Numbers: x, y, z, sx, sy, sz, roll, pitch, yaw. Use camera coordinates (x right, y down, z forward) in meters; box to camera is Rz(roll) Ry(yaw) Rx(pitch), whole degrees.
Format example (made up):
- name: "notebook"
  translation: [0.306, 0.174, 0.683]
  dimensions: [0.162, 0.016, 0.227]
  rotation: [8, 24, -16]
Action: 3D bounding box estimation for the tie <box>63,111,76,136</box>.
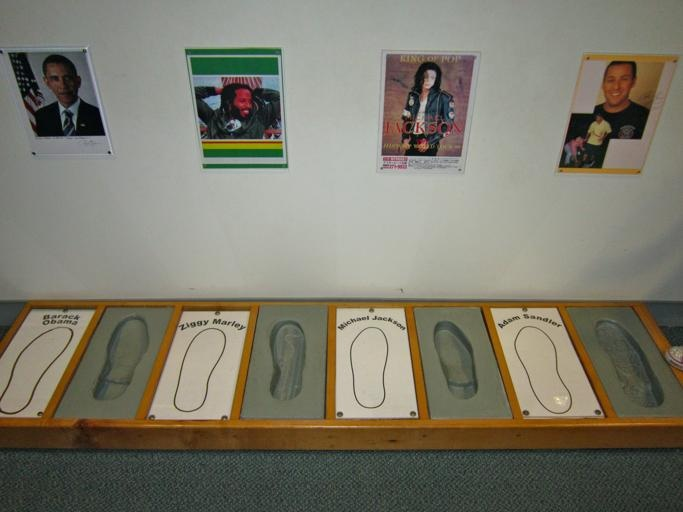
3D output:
- name: "tie"
  translation: [-1.213, -0.592, 1.940]
  dimensions: [0.038, 0.124, 0.045]
  rotation: [0, 4, -3]
